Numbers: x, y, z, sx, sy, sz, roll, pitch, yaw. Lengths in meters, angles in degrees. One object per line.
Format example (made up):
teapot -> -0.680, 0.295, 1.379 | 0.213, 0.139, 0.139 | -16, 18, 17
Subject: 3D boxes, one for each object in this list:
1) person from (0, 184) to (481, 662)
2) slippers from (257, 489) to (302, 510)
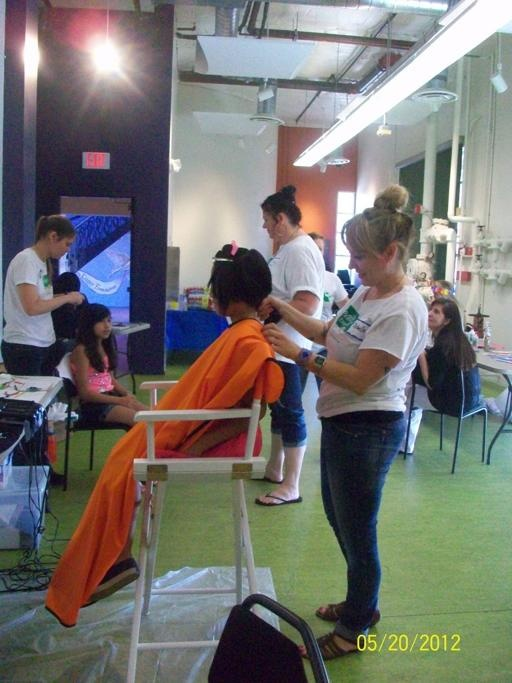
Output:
person -> 0.003, 0.286, 1.721 | 0.913, 1.450, 0.519 | 0, 8, -5
slippers -> 0.125, 0.835, 3.039 | 0.215, 0.047, 0.082 | 5, -7, -23
